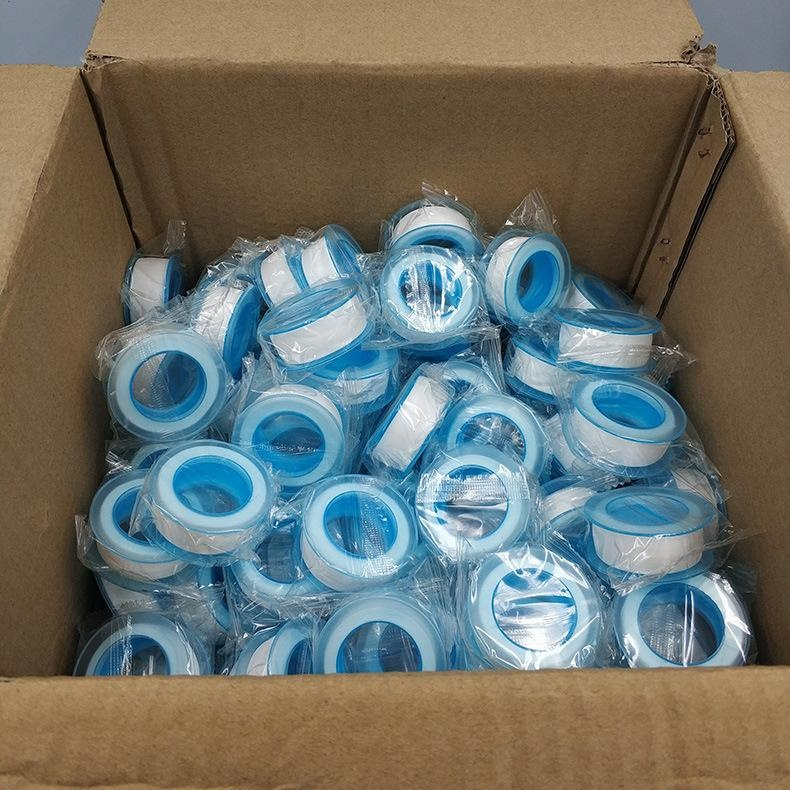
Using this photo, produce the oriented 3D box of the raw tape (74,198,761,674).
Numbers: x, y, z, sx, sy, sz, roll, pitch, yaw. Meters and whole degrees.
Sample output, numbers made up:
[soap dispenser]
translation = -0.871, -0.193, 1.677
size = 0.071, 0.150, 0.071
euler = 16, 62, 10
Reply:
[raw tape]
translation = 0.006, 0.116, 1.639
size = 0.845, 0.243, 0.732
euler = -2, 68, -4
